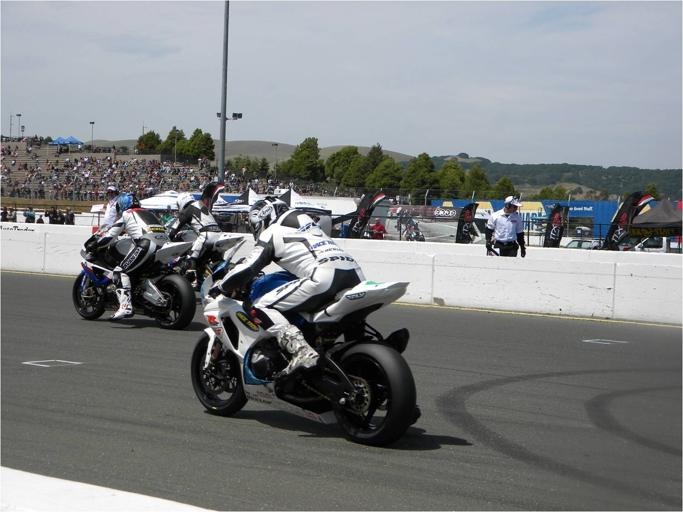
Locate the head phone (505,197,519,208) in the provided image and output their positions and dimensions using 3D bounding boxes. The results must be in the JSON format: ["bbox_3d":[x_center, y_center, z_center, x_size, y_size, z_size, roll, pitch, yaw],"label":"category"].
[{"bbox_3d":[3.469,-1.093,15.464,0.278,0.143,0.184,7,15,28],"label":"head phone"}]

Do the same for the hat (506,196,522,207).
[{"bbox_3d":[3.465,-1.100,15.512,0.330,0.171,0.224,6,29,39],"label":"hat"}]

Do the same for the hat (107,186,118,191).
[{"bbox_3d":[-3.980,-1.172,13.138,0.155,0.105,0.232,0,7,-13],"label":"hat"}]

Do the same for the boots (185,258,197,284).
[{"bbox_3d":[-2.760,0.273,13.871,0.173,0.420,0.298,-5,-5,-15],"label":"boots"}]

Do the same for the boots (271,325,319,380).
[{"bbox_3d":[-0.419,0.890,6.885,0.216,0.475,0.518,-3,9,-36],"label":"boots"}]

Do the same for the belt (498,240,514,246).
[{"bbox_3d":[3.369,-0.267,15.609,0.309,0.088,0.105,3,7,9],"label":"belt"}]

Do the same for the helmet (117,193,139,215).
[{"bbox_3d":[-3.450,-0.853,12.323,0.322,0.390,0.423,-5,18,-20],"label":"helmet"}]

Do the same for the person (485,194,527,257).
[{"bbox_3d":[3.407,-0.619,15.640,0.764,1.176,0.412,3,7,13],"label":"person"}]

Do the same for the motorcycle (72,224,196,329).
[{"bbox_3d":[-3.243,0.378,11.828,2.339,1.404,0.674,5,8,27],"label":"motorcycle"}]

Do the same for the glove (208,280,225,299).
[{"bbox_3d":[-1.190,0.321,7.173,0.169,0.077,0.131,-32,-8,20],"label":"glove"}]

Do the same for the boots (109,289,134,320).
[{"bbox_3d":[-3.354,0.731,11.577,0.391,0.506,0.261,4,7,20],"label":"boots"}]
